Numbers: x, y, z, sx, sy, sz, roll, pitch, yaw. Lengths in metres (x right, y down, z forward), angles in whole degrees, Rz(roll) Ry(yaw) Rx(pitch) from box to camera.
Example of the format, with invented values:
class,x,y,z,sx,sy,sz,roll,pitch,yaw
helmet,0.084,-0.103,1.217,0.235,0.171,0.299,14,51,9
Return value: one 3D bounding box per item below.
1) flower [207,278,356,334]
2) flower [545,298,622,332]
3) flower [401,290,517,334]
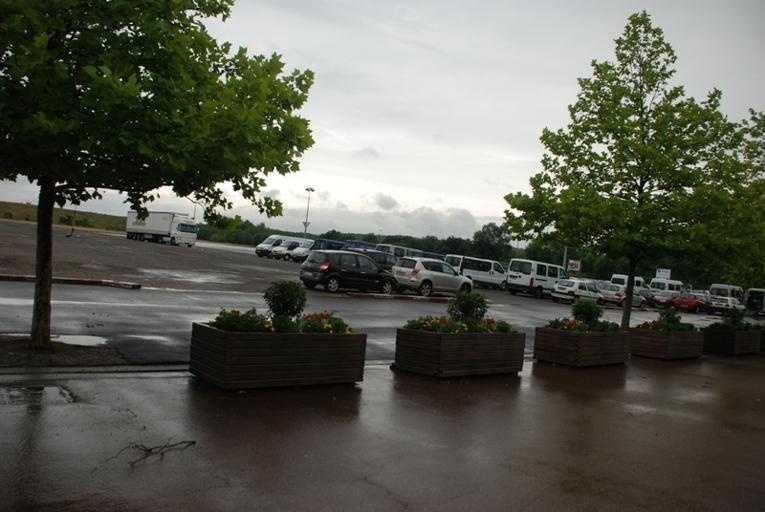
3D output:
class,x,y,z,sx,sy,sz,roll,pitch,yaw
flower,-1.665,1.012,9.139,1.627,0.669,1.216,4,-6,-8
flower,5.034,1.606,13.848,1.329,0.747,1.037,-2,9,-37
flower,1.640,1.313,11.451,1.550,0.685,1.109,-1,5,-27
